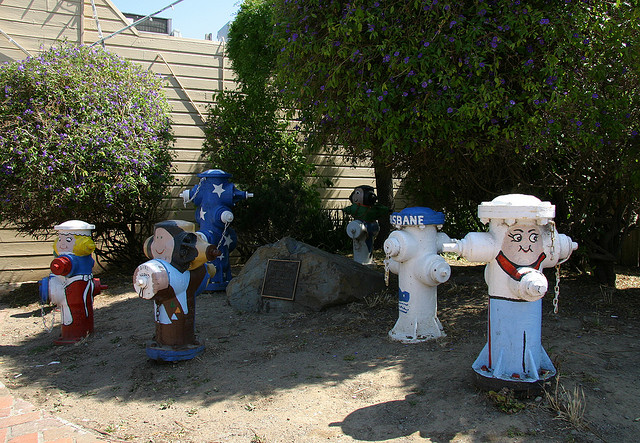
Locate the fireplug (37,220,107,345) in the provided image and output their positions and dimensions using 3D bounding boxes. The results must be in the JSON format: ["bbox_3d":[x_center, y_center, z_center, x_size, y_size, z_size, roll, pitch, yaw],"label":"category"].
[{"bbox_3d":[-3.588,0.870,8.340,0.804,1.770,0.441,0,3,-25],"label":"fireplug"}]

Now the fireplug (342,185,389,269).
[{"bbox_3d":[0.911,0.081,11.546,0.772,1.645,0.821,2,3,2],"label":"fireplug"}]
